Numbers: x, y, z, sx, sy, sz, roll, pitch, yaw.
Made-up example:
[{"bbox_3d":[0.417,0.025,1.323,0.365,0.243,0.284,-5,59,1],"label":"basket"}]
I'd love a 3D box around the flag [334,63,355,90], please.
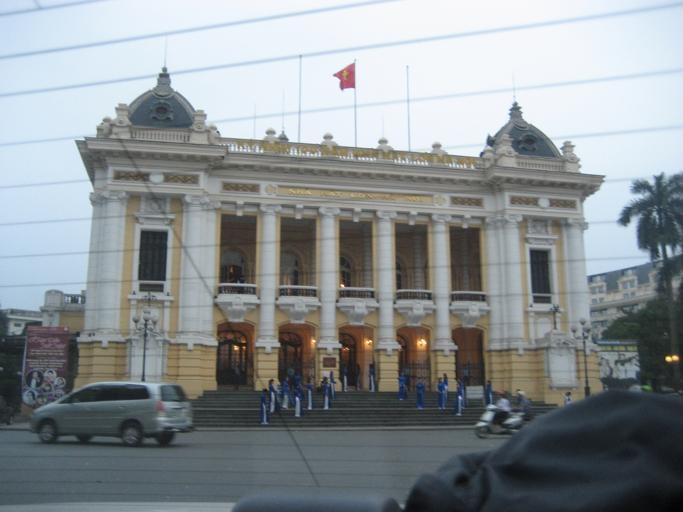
[{"bbox_3d":[0.336,-7.898,36.028,0.444,1.007,0.970,6,-16,-40],"label":"flag"}]

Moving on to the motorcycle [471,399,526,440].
[{"bbox_3d":[4.259,4.265,21.493,1.742,0.854,0.709,6,-5,-32],"label":"motorcycle"}]
